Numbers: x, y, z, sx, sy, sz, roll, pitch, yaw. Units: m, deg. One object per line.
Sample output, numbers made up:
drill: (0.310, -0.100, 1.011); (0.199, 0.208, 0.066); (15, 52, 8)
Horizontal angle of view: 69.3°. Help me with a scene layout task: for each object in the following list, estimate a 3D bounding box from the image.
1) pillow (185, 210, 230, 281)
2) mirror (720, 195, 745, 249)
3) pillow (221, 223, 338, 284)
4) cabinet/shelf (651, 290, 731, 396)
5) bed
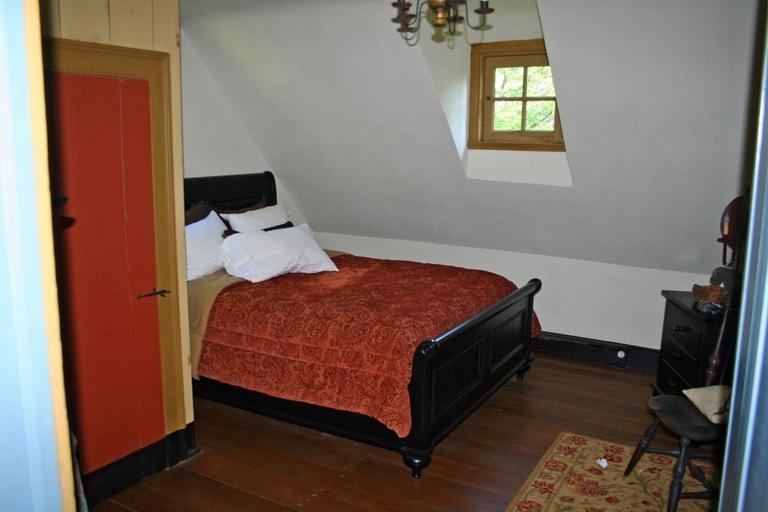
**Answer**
pillow: (-1.358, -0.073, 4.273); (0.422, 0.459, 0.131); (-17, -6, -41)
mirror: (2.084, -0.198, 3.313); (0.068, 0.296, 0.299); (4, -7, 30)
pillow: (-0.810, -0.013, 4.321); (0.573, 0.170, 0.514); (-6, 41, -32)
cabinet/shelf: (2.125, 0.697, 3.918); (0.279, 0.796, 0.786); (5, 13, 20)
bed: (-0.345, 0.452, 4.203); (2.560, 1.528, 1.832); (8, 20, 29)
